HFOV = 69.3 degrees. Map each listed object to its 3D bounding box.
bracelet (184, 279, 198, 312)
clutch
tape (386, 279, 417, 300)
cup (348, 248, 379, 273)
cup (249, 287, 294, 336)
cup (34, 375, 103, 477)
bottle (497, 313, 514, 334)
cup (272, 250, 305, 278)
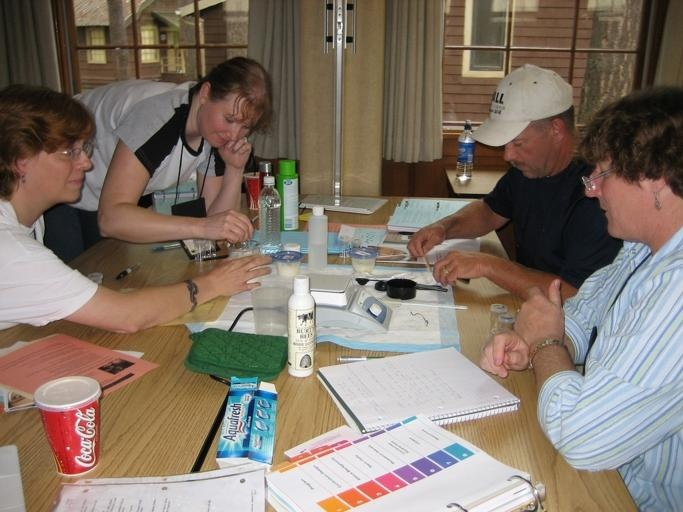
[{"bbox_3d":[-0.473,0.134,1.580,0.028,0.076,0.059,1,2,-34],"label":"bracelet"},{"bbox_3d":[-0.264,0.253,1.301,0.177,0.036,0.129,3,25,4],"label":"clutch"},{"bbox_3d":[0.204,0.111,1.684,0.077,0.031,0.075,0,15,2],"label":"tape"},{"bbox_3d":[0.087,0.011,1.920,0.095,0.085,0.101,0,16,0],"label":"cup"},{"bbox_3d":[-0.199,0.155,1.516,0.127,0.113,0.141,9,11,42],"label":"cup"},{"bbox_3d":[-0.547,0.344,1.015,0.109,0.174,0.106,0,18,0],"label":"cup"},{"bbox_3d":[0.458,0.189,1.389,0.032,0.049,0.032,0,24,0],"label":"bottle"},{"bbox_3d":[-0.196,0.024,1.861,0.098,0.064,0.097,0,21,0],"label":"cup"}]
